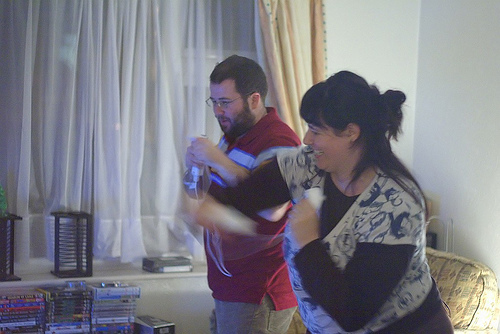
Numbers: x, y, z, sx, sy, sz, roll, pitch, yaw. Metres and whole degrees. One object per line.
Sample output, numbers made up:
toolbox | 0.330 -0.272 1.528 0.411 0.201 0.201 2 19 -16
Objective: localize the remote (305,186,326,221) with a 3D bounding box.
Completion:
remote | 0.241 0.121 1.815 0.078 0.087 0.110 -3 -7 -1

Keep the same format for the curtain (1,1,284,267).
curtain | -0.798 -0.189 3.127 1.728 2.044 0.217 -1 3 -5

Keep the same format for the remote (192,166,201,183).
remote | -0.238 0.032 2.159 0.051 0.051 0.013 -2 -24 27

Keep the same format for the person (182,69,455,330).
person | 0.320 0.015 2.610 1.064 2.047 0.874 -6 11 -17
